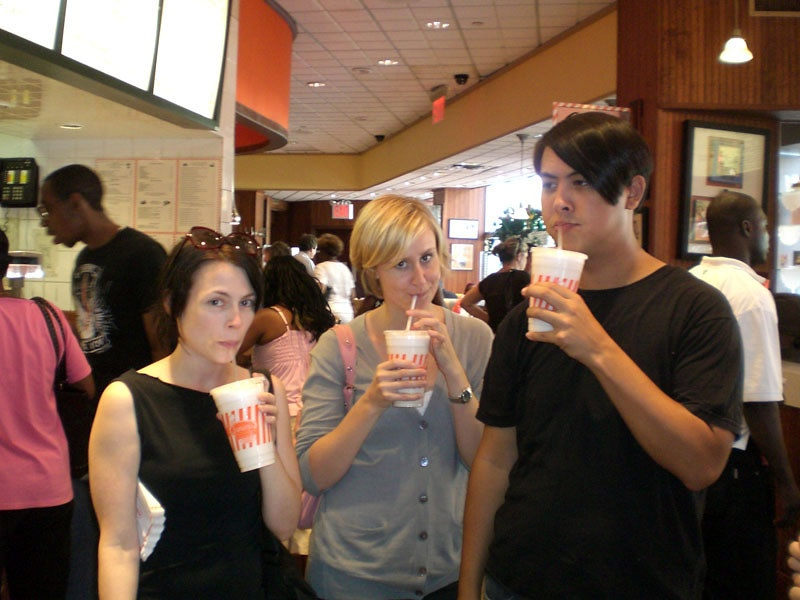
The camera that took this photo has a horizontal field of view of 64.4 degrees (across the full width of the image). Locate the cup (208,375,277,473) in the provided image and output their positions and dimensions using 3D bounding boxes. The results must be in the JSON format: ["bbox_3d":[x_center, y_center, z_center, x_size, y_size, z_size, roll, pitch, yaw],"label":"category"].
[{"bbox_3d":[-0.452,0.386,1.930,0.202,0.241,0.178,-11,-13,-8],"label":"cup"}]

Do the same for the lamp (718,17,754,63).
[{"bbox_3d":[2.188,-1.703,4.164,0.220,0.218,0.214,-25,36,-32],"label":"lamp"}]

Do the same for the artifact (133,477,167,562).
[{"bbox_3d":[-0.694,0.629,1.775,0.076,0.241,0.135,-3,5,-22],"label":"artifact"}]

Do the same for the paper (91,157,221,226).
[{"bbox_3d":[-1.360,-0.598,3.474,0.527,0.309,0.021,-7,15,-36],"label":"paper"}]

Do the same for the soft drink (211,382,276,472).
[{"bbox_3d":[-0.467,0.368,1.885,0.168,0.264,0.071,-3,5,-16],"label":"soft drink"}]

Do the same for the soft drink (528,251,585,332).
[{"bbox_3d":[0.424,-0.039,1.873,0.186,0.216,0.176,11,5,0],"label":"soft drink"}]

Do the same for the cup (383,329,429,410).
[{"bbox_3d":[0.023,0.233,2.055,0.144,0.269,0.125,-1,5,1],"label":"cup"}]
